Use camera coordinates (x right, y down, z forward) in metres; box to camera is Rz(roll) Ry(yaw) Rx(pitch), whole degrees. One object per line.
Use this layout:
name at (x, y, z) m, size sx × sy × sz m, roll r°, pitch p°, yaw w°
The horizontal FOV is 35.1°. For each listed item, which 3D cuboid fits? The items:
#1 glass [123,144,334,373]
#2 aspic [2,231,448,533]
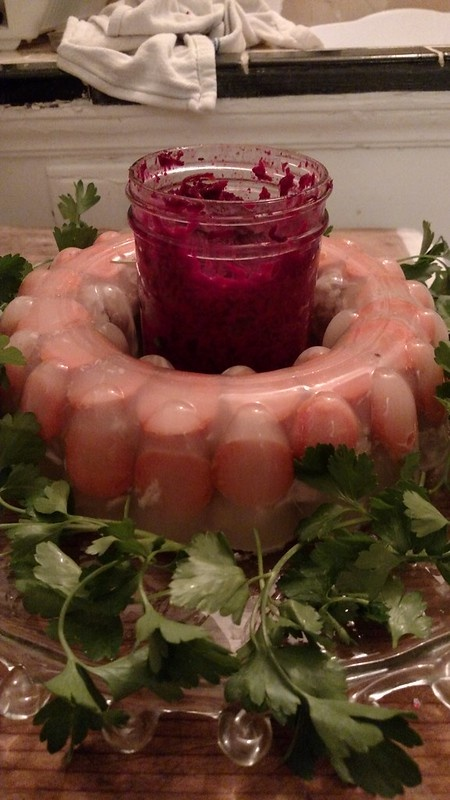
glass at (0.001, -0.098, 0.572) m, size 0.171 × 0.183 × 0.178 m, roll 0°, pitch 33°, yaw 0°
aspic at (0.014, -0.016, 0.510) m, size 0.320 × 0.107 × 0.238 m, roll -11°, pitch 33°, yaw -17°
